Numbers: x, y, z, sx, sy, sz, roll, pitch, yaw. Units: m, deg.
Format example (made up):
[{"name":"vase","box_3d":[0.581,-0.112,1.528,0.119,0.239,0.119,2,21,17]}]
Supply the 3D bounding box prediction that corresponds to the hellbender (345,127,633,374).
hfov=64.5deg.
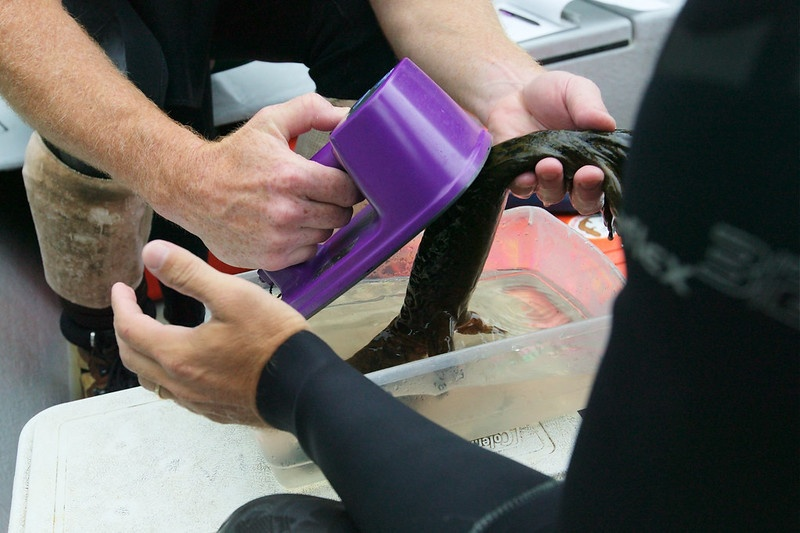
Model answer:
[{"name":"hellbender","box_3d":[0.127,-0.040,1.139,0.397,0.471,0.280,-19,30,-36]}]

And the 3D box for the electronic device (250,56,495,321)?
[{"name":"electronic device","box_3d":[-0.024,-0.161,1.144,0.375,0.388,0.437,-28,46,-34]}]
